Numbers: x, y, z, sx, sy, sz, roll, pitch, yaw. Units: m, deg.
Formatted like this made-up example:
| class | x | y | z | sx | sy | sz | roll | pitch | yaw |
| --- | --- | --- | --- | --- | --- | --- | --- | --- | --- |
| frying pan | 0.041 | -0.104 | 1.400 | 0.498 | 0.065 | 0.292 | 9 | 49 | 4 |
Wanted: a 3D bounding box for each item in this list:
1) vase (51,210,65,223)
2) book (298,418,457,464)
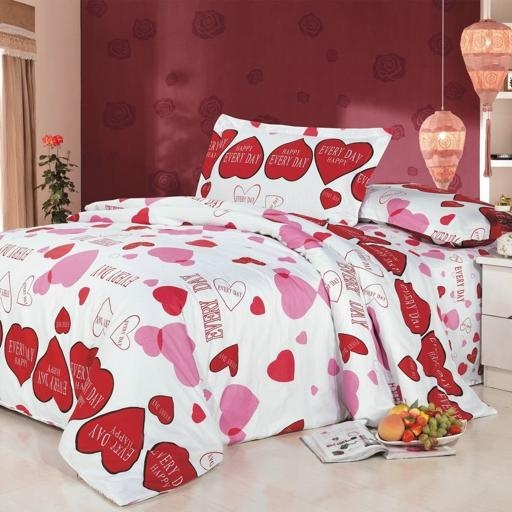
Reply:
| class | x | y | z | sx | sy | sz | roll | pitch | yaw |
| --- | --- | --- | --- | --- | --- | --- | --- | --- | --- |
| vase | -1.476 | -0.289 | 3.945 | 0.140 | 0.107 | 0.046 | 0 | -22 | 25 |
| book | 0.316 | 0.487 | 1.418 | 0.365 | 0.051 | 0.195 | 1 | 1 | -13 |
